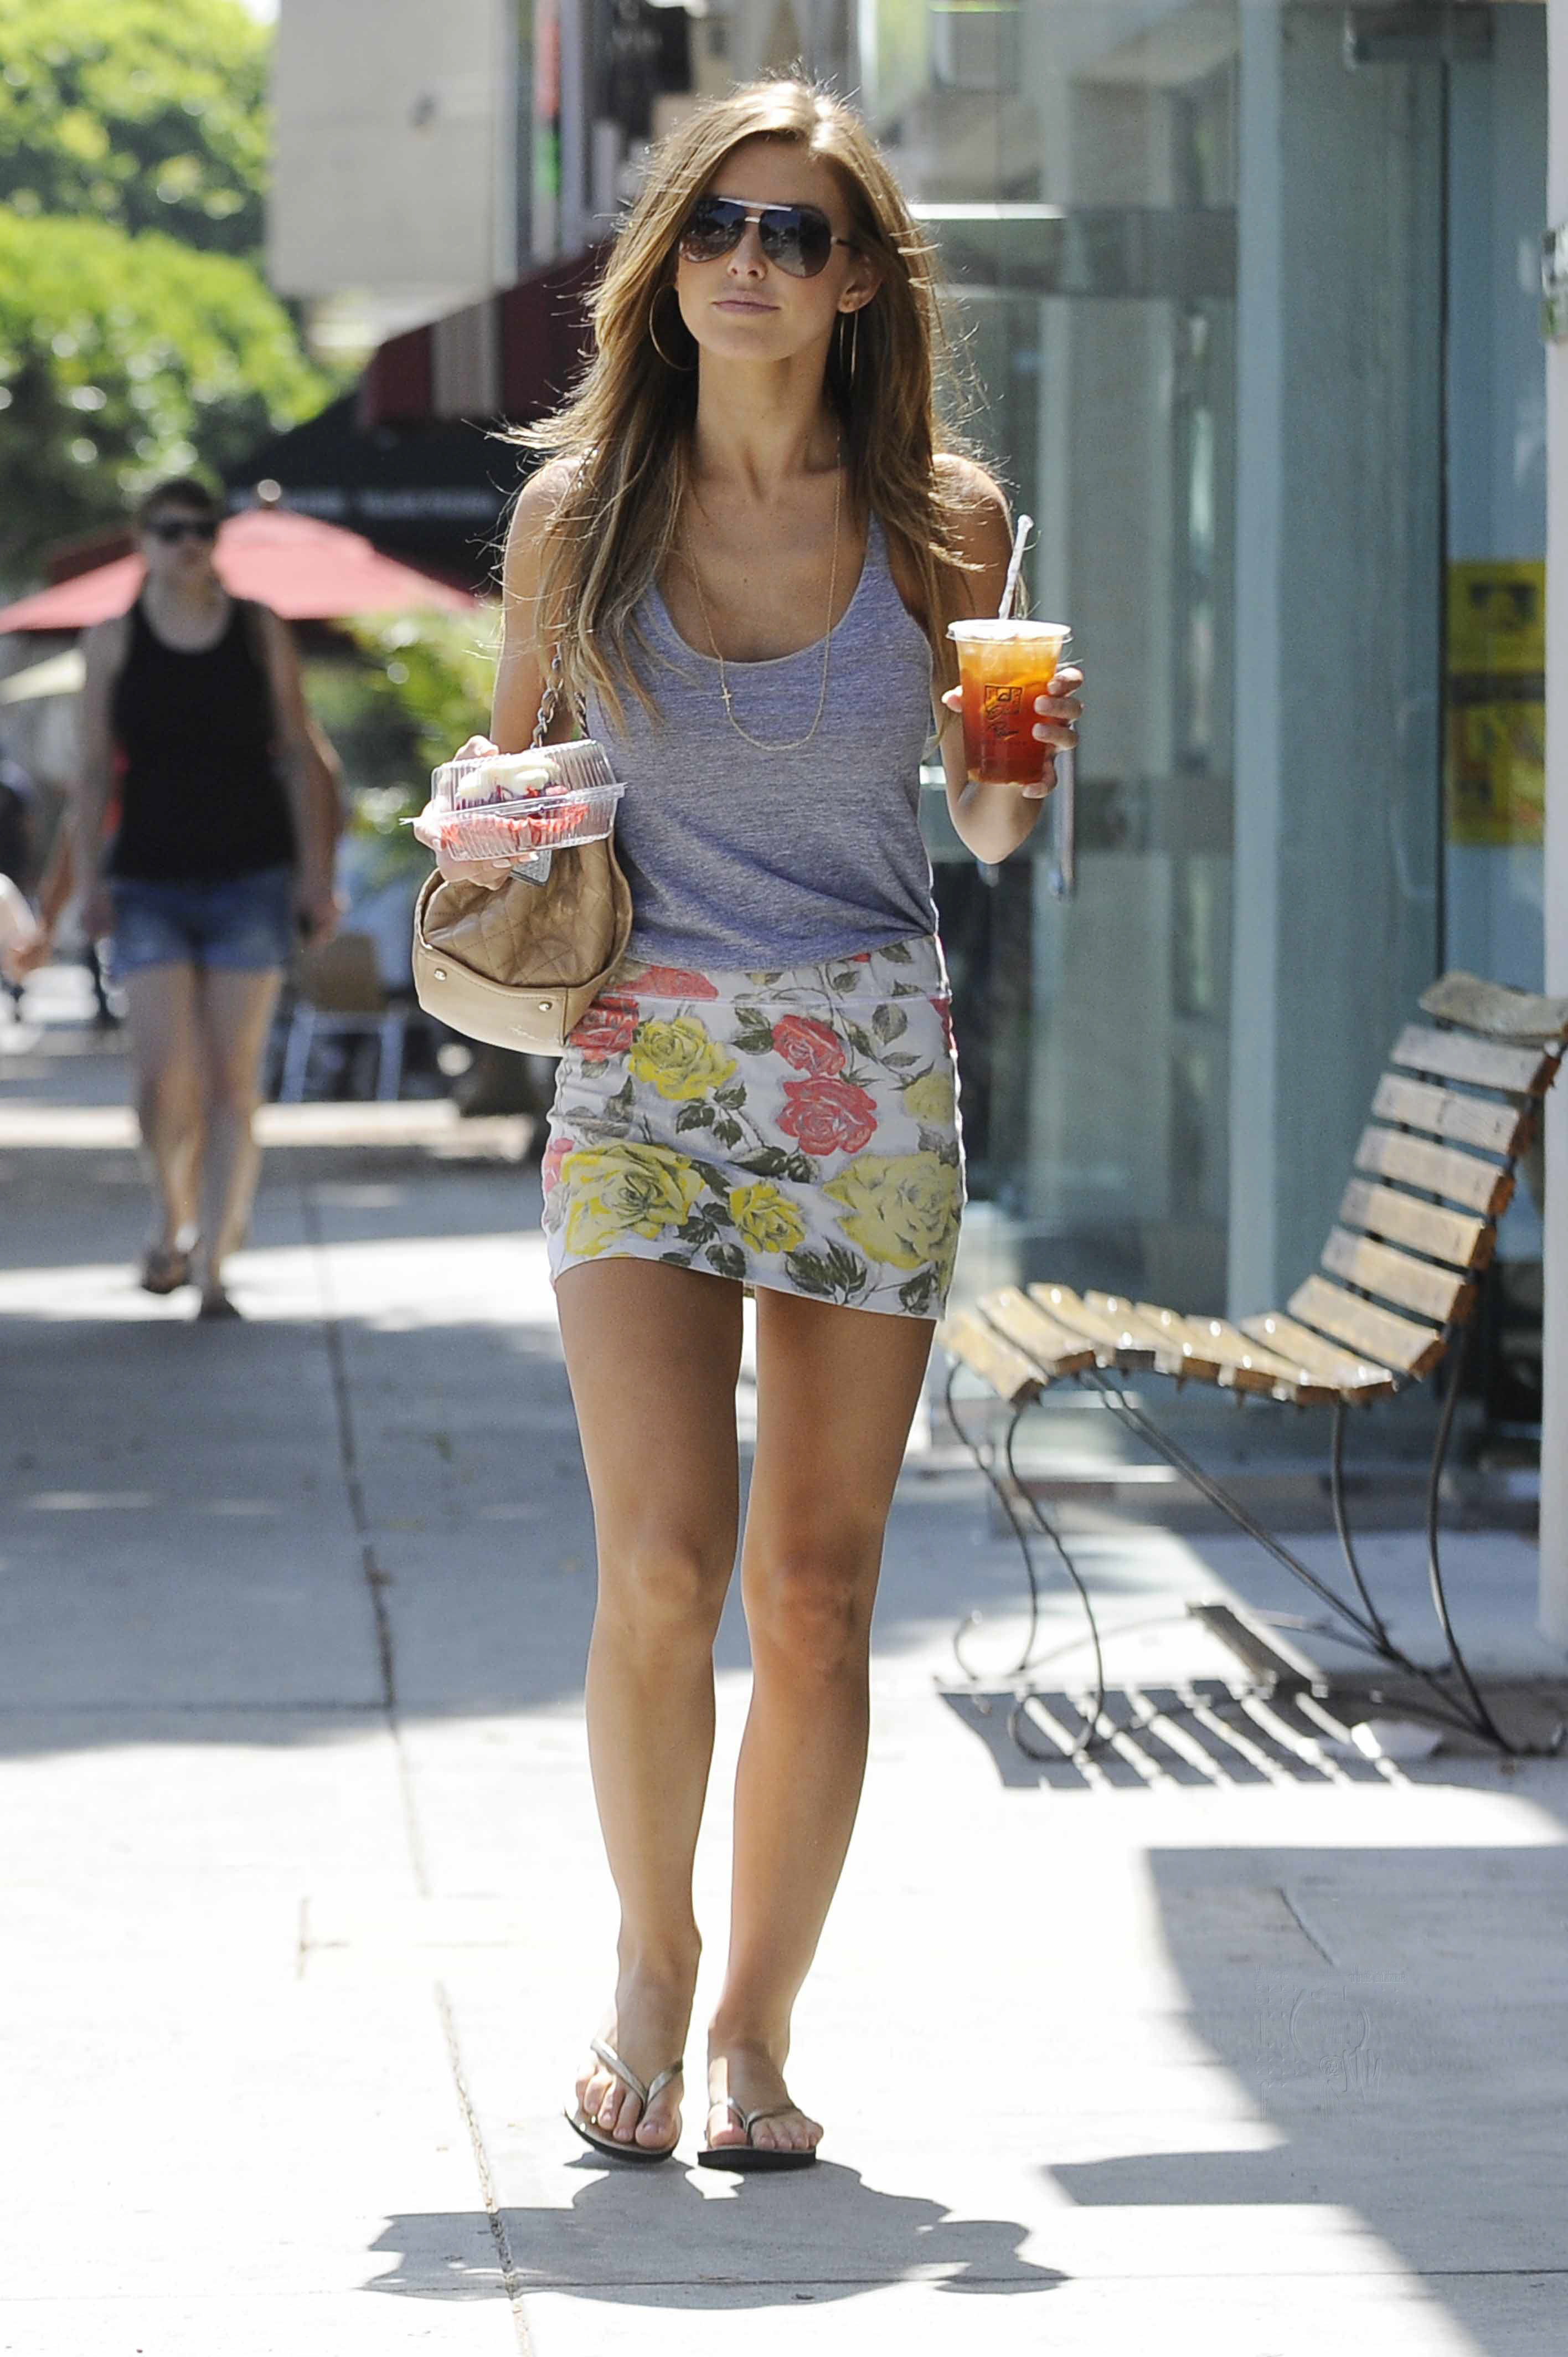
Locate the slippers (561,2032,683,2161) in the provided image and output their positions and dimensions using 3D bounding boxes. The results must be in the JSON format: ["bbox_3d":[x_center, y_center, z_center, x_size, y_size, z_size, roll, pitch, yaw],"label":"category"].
[{"bbox_3d":[-0.154,0.837,2.731,0.123,0.099,0.092,3,16,19],"label":"slippers"}]

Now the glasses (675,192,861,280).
[{"bbox_3d":[-0.020,-0.877,2.808,0.154,0.081,0.100,-4,15,-5],"label":"glasses"}]

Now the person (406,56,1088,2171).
[{"bbox_3d":[0.001,-0.088,2.823,0.527,1.841,0.833,-4,16,-1],"label":"person"}]

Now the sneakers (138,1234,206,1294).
[{"bbox_3d":[-1.324,0.182,6.464,0.107,0.097,0.120,3,-16,-13],"label":"sneakers"}]

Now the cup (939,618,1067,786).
[{"bbox_3d":[0.191,-0.448,2.834,0.160,0.148,0.144,0,6,-7],"label":"cup"}]

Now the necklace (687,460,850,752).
[{"bbox_3d":[-0.022,-0.541,2.850,0.179,0.274,0.073,4,-9,-2],"label":"necklace"}]

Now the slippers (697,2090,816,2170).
[{"bbox_3d":[-0.025,0.861,2.698,0.110,0.067,0.067,-3,15,-3],"label":"slippers"}]
